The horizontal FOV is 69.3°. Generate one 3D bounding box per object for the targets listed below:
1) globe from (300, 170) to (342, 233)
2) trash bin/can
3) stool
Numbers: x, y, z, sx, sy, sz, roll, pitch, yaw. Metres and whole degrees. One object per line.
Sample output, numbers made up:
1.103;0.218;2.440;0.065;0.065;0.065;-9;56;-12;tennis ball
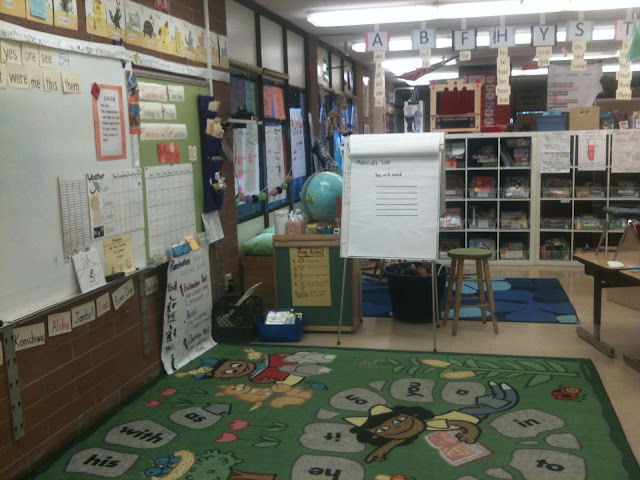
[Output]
0.008;-0.426;4.834;0.455;0.566;0.449;-2;10;3;globe
1.004;0.554;4.870;0.626;0.606;0.400;1;10;15;trash bin/can
1.516;0.440;4.639;0.576;0.867;0.559;4;9;15;stool
